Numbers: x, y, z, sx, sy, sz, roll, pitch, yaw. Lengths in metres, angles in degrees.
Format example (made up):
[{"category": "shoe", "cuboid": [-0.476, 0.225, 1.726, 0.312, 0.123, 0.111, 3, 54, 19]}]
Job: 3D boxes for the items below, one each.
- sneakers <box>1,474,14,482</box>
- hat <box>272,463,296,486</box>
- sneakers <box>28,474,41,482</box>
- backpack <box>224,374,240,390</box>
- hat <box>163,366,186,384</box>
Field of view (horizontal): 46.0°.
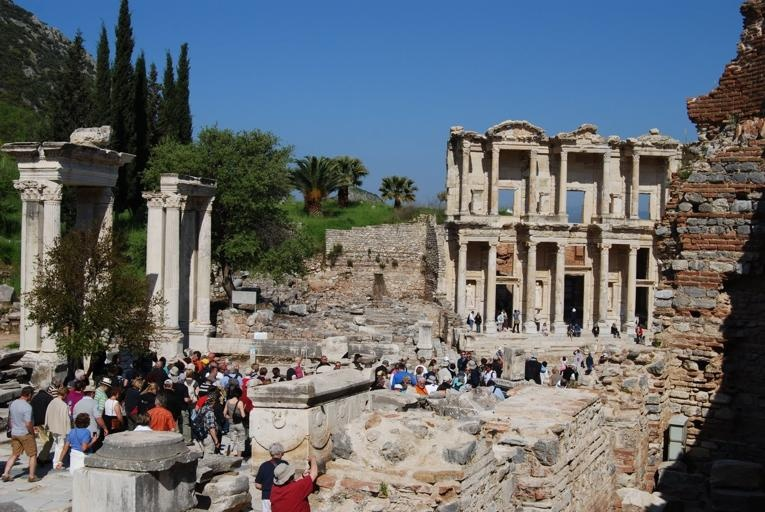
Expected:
[{"category": "sneakers", "cuboid": [-8.618, 5.111, 20.838, 0.274, 0.181, 0.129, -1, 0, 4]}, {"category": "hat", "cuboid": [-1.955, 4.317, 17.934, 0.385, 0.398, 0.134, -23, -54, 25]}, {"category": "sneakers", "cuboid": [-8.027, 5.127, 20.837, 0.303, 0.125, 0.103, -3, 7, -29]}, {"category": "backpack", "cuboid": [-3.888, 3.238, 23.211, 0.385, 0.505, 0.206, 7, 4, 6]}, {"category": "hat", "cuboid": [-5.675, 3.335, 24.721, 0.591, 0.151, 0.579, 17, 12, -47]}]
